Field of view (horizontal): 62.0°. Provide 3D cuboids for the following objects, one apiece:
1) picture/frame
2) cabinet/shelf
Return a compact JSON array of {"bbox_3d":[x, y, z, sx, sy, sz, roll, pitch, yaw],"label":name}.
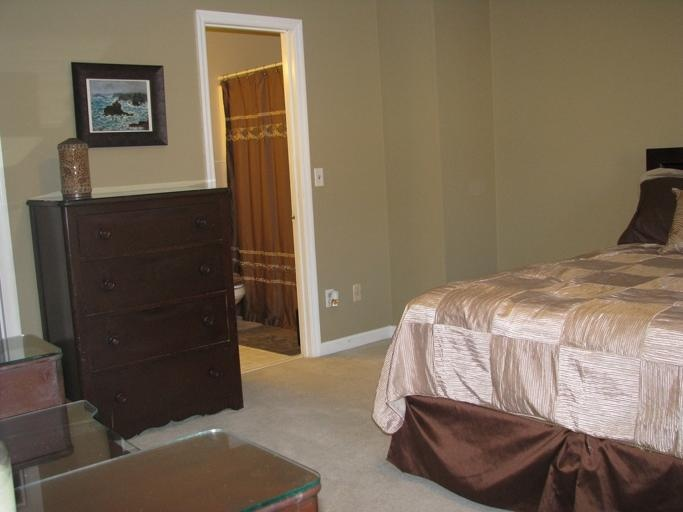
[{"bbox_3d":[-1.407,-0.942,3.532,0.599,0.530,0.049,-7,11,-36],"label":"picture/frame"},{"bbox_3d":[-1.222,0.307,3.519,1.029,1.361,0.658,-8,12,-37],"label":"cabinet/shelf"}]
